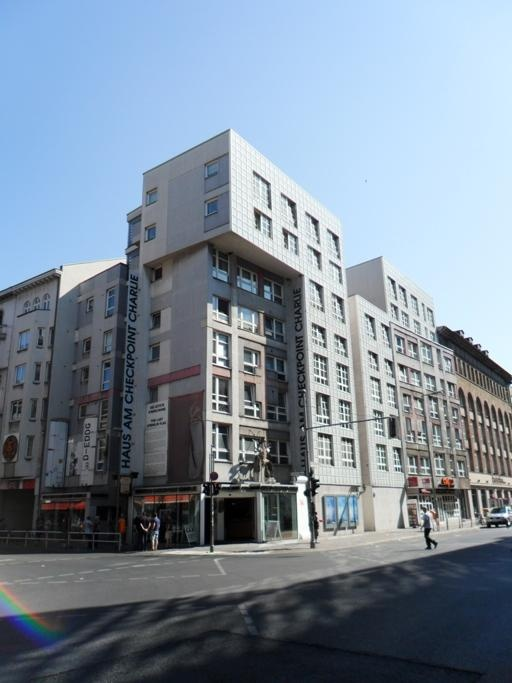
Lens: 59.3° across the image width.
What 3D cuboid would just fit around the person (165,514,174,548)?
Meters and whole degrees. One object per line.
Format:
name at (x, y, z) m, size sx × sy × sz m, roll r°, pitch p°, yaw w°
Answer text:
person at (-5.473, 11.943, 28.366) m, size 0.725 × 1.860 × 0.326 m, roll -15°, pitch -21°, yaw 33°
